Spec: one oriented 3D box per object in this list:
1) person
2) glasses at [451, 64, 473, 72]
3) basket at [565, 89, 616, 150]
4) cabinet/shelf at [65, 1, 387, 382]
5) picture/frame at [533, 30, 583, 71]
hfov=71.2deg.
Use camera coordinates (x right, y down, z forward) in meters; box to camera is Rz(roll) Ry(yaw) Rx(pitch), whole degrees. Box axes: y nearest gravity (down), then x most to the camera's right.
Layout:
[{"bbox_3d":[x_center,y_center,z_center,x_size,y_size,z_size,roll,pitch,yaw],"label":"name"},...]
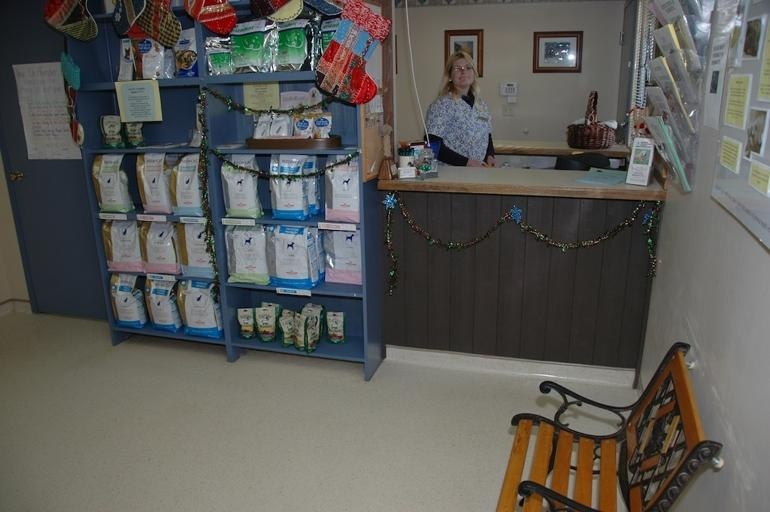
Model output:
[{"bbox_3d":[0.638,-1.193,4.404,0.679,0.908,0.600,-3,19,-8],"label":"person"},{"bbox_3d":[0.618,-1.505,4.307,0.151,0.057,0.045,1,19,5],"label":"glasses"},{"bbox_3d":[1.890,-1.281,5.092,0.520,0.535,0.525,4,18,22],"label":"basket"},{"bbox_3d":[-1.059,-0.498,3.791,2.554,2.999,0.691,1,13,8],"label":"cabinet/shelf"},{"bbox_3d":[2.161,-2.555,6.652,0.479,0.411,0.033,1,9,9],"label":"picture/frame"}]
